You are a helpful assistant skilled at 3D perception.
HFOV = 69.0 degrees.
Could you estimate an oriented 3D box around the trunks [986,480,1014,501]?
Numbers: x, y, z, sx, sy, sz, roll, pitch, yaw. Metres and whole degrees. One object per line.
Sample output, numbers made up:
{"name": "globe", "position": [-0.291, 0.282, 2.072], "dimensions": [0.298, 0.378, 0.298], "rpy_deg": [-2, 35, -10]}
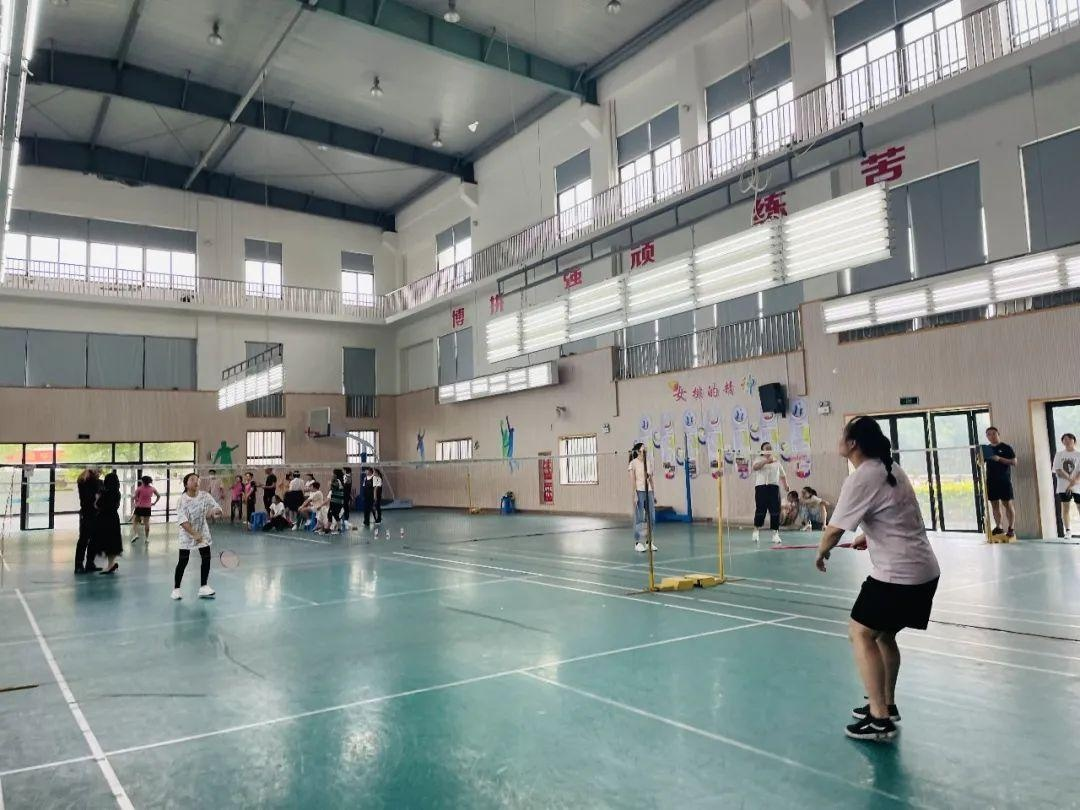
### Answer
{"name": "trunks", "position": [7.958, 1.513, 13.729], "dimensions": [0.485, 0.524, 0.310], "rpy_deg": [-6, -16, 31]}

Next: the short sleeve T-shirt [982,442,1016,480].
{"name": "short sleeve T-shirt", "position": [7.955, 0.986, 13.718], "dimensions": [0.293, 0.586, 0.403], "rpy_deg": [18, -25, -30]}

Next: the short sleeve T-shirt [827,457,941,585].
{"name": "short sleeve T-shirt", "position": [2.537, 0.876, 6.076], "dimensions": [0.907, 1.295, 0.771], "rpy_deg": [0, -3, -39]}

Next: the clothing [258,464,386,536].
{"name": "clothing", "position": [-5.291, 2.619, 21.777], "dimensions": [4.478, 2.232, 1.513], "rpy_deg": [10, -14, -37]}

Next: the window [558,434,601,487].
{"name": "window", "position": [1.156, 1.584, 22.585], "dimensions": [0.142, 1.483, 1.269], "rpy_deg": [4, -7, -39]}

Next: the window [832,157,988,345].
{"name": "window", "position": [6.843, -2.796, 14.304], "dimensions": [0.148, 3.632, 3.130], "rpy_deg": [7, -11, -37]}

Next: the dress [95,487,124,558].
{"name": "dress", "position": [-7.310, 2.023, 13.324], "dimensions": [0.358, 1.190, 0.452], "rpy_deg": [-3, 3, -35]}

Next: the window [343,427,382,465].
{"name": "window", "position": [-6.679, 1.323, 30.058], "dimensions": [1.582, 1.831, 1.221], "rpy_deg": [4, -7, -38]}

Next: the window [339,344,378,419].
{"name": "window", "position": [-6.994, -0.859, 30.472], "dimensions": [0.405, 2.642, 1.427], "rpy_deg": [1, 3, 38]}

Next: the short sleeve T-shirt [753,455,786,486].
{"name": "short sleeve T-shirt", "position": [4.200, 1.227, 14.516], "dimensions": [0.543, 0.558, 0.356], "rpy_deg": [1, -17, -4]}

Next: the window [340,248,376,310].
{"name": "window", "position": [-7.144, -4.896, 30.501], "dimensions": [2.051, 3.073, 0.212], "rpy_deg": [6, -10, -45]}

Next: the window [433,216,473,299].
{"name": "window", "position": [-3.047, -5.229, 27.830], "dimensions": [0.152, 3.038, 2.560], "rpy_deg": [7, -13, -35]}

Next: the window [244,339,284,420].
{"name": "window", "position": [-9.893, -0.887, 28.264], "dimensions": [1.297, 2.732, 0.620], "rpy_deg": [-2, 2, -24]}

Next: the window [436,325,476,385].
{"name": "window", "position": [-2.965, -1.822, 27.979], "dimensions": [0.238, 1.858, 1.934], "rpy_deg": [1, -4, -32]}

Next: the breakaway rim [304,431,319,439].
{"name": "breakaway rim", "position": [-8.350, 1.080, 28.758], "dimensions": [0.359, 0.279, 0.388], "rpy_deg": [3, -4, -20]}

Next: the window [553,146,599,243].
{"name": "window", "position": [0.939, -6.141, 22.849], "dimensions": [0.482, 2.365, 1.860], "rpy_deg": [-2, 2, -27]}

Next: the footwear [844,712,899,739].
{"name": "footwear", "position": [2.489, 2.419, 5.955], "dimensions": [0.329, 0.181, 0.171], "rpy_deg": [-1, -10, 10]}
